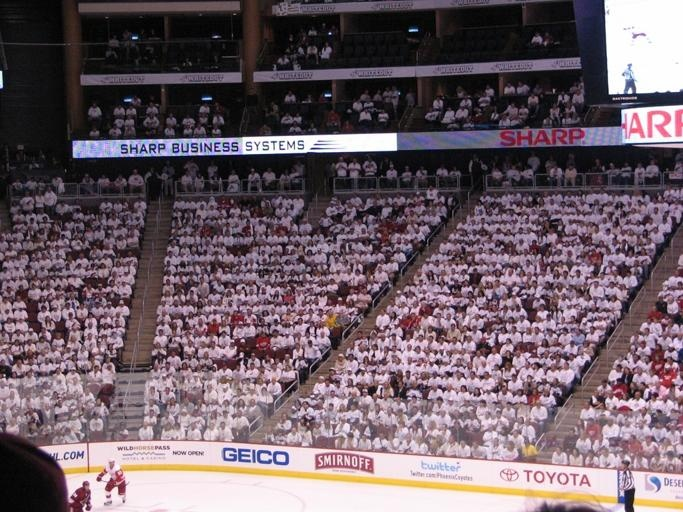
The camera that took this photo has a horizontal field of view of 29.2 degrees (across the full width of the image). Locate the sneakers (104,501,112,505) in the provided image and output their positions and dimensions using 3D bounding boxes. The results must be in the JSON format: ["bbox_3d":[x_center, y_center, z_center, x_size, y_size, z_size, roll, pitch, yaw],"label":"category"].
[{"bbox_3d":[-7.071,7.411,39.708,0.220,0.153,0.278,0,0,-10],"label":"sneakers"}]
